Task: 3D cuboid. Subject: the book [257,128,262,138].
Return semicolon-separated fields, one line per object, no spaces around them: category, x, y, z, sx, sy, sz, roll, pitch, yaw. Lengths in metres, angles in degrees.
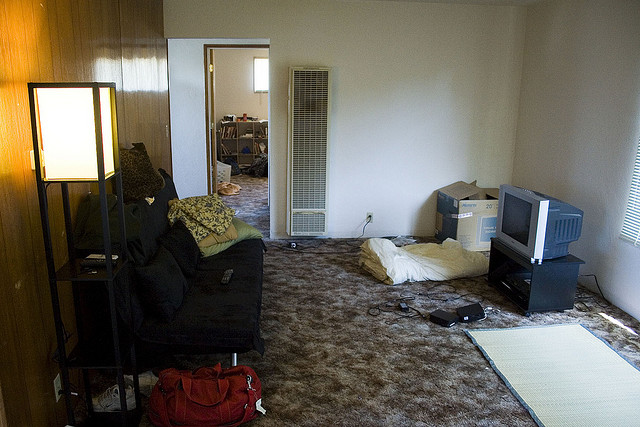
book;-1.384;-1.848;10.396;0.149;0.160;0.447;-1;12;-6

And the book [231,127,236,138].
book;-1.949;-1.839;10.297;0.059;0.248;0.043;21;1;-8

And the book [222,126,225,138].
book;-2.179;-1.854;10.263;0.037;0.220;0.079;7;18;25

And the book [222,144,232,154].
book;-2.138;-1.488;10.375;0.099;0.112;0.360;21;23;4

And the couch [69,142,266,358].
couch;-1.309;0.156;4.393;1.394;1.173;2.973;2;13;-6

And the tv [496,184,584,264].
tv;2.198;0.075;4.517;0.534;0.590;0.735;-4;15;-9
